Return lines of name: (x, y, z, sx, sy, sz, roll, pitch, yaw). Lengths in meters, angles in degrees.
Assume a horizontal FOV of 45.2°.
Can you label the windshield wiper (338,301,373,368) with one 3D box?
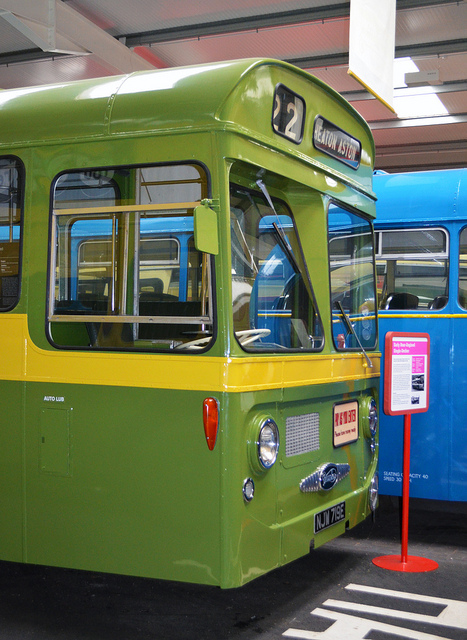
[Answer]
windshield wiper: (0.974, 0.126, 4.541, 0.082, 0.595, 0.063, -31, 4, -25)
